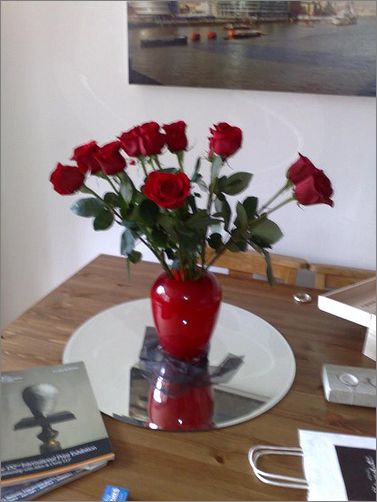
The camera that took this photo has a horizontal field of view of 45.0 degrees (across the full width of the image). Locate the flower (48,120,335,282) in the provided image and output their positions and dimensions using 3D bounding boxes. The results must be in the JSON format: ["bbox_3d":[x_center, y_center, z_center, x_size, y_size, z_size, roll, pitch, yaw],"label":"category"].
[{"bbox_3d":[-0.018,-0.059,0.826,0.425,0.339,0.314,-9,26,-21],"label":"flower"}]

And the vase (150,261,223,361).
[{"bbox_3d":[-0.032,0.126,0.903,0.192,0.178,0.173,6,-9,-8],"label":"vase"}]
